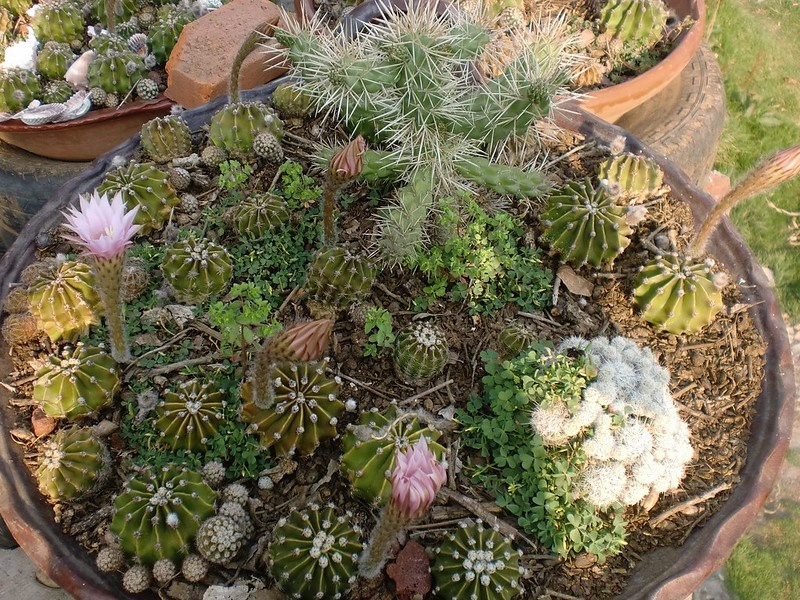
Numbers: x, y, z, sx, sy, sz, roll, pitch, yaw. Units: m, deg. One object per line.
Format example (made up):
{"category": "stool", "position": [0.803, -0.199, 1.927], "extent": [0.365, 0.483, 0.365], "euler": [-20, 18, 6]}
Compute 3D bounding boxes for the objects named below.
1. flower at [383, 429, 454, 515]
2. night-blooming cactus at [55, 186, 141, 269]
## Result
{"category": "flower", "position": [0.062, 0.720, 3.217], "extent": [0.215, 0.351, 0.204], "euler": [-9, 55, -19]}
{"category": "night-blooming cactus", "position": [-1.307, -0.342, 3.429], "extent": [0.275, 0.251, 0.331], "euler": [-2, 74, -7]}
